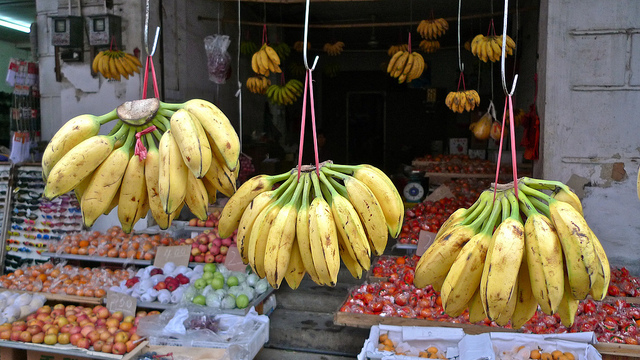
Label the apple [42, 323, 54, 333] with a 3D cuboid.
[{"bbox_3d":[-3.210,1.743,6.050,0.079,0.086,0.079,-1,-11,-6],"label":"apple"}]

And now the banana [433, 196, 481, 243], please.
[{"bbox_3d":[1.511,0.451,5.776,0.696,0.165,0.181,-45,-7,-19],"label":"banana"}]

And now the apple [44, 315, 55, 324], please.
[{"bbox_3d":[-3.253,1.683,6.170,0.077,0.099,0.079,-19,25,-17],"label":"apple"}]

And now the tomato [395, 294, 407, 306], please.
[{"bbox_3d":[0.998,1.499,6.447,0.116,0.142,0.114,-16,38,17],"label":"tomato"}]

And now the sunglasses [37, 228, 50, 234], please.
[{"bbox_3d":[-4.317,0.798,8.015,0.203,0.083,0.020,2,6,13],"label":"sunglasses"}]

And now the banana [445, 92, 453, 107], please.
[{"bbox_3d":[1.910,-1.210,7.709,0.048,0.175,0.136,14,1,-7],"label":"banana"}]

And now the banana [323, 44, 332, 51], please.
[{"bbox_3d":[0.150,-2.673,10.465,0.133,0.182,0.054,15,2,30],"label":"banana"}]

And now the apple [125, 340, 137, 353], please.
[{"bbox_3d":[-2.191,1.924,5.943,0.103,0.131,0.106,0,1,-3],"label":"apple"}]

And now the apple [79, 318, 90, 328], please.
[{"bbox_3d":[-2.827,1.707,6.154,0.064,0.083,0.067,-1,1,4],"label":"apple"}]

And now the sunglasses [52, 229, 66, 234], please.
[{"bbox_3d":[-4.055,0.803,7.980,0.211,0.071,0.022,2,6,9],"label":"sunglasses"}]

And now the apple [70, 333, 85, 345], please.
[{"bbox_3d":[-2.844,1.844,5.972,0.112,0.138,0.113,18,-8,14],"label":"apple"}]

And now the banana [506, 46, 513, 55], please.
[{"bbox_3d":[2.641,-1.800,7.167,0.052,0.102,0.182,4,17,-6],"label":"banana"}]

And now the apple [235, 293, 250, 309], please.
[{"bbox_3d":[-0.958,1.493,6.306,0.176,0.145,0.140,-1,6,-11],"label":"apple"}]

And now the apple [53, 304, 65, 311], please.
[{"bbox_3d":[-3.250,1.582,6.411,0.090,0.090,0.092,-2,-1,-1],"label":"apple"}]

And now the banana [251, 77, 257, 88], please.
[{"bbox_3d":[-1.079,-1.572,8.316,0.049,0.202,0.037,2,6,8],"label":"banana"}]

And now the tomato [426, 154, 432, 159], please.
[{"bbox_3d":[2.296,-0.490,10.930,0.157,0.069,0.164,1,-9,6],"label":"tomato"}]

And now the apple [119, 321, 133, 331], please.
[{"bbox_3d":[-2.328,1.746,6.145,0.093,0.096,0.096,6,-2,2],"label":"apple"}]

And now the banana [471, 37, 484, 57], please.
[{"bbox_3d":[2.332,-1.985,7.669,0.053,0.225,0.145,15,10,-43],"label":"banana"}]

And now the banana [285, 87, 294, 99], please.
[{"bbox_3d":[-0.497,-1.379,8.198,0.056,0.244,0.062,-37,4,26],"label":"banana"}]

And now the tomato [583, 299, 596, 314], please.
[{"bbox_3d":[3.222,1.523,6.143,0.096,0.138,0.078,7,-13,29],"label":"tomato"}]

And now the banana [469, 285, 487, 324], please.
[{"bbox_3d":[1.451,1.137,4.723,0.108,0.363,0.115,-1,3,-5],"label":"banana"}]

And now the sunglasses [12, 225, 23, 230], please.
[{"bbox_3d":[-4.737,0.743,8.047,0.170,0.069,0.007,2,6,11],"label":"sunglasses"}]

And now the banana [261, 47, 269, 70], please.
[{"bbox_3d":[-0.853,-1.843,7.788,0.100,0.290,0.073,-4,-4,-39],"label":"banana"}]

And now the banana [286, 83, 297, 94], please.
[{"bbox_3d":[-0.467,-1.465,8.254,0.207,0.043,0.056,39,30,-5],"label":"banana"}]

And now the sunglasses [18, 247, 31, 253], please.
[{"bbox_3d":[-4.621,1.097,8.037,0.209,0.078,0.017,2,6,13],"label":"sunglasses"}]

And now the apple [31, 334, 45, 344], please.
[{"bbox_3d":[-3.265,1.839,5.951,0.107,0.084,0.086,13,-34,35],"label":"apple"}]

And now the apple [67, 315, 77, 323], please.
[{"bbox_3d":[-2.986,1.673,6.177,0.068,0.069,0.069,-2,-28,-25],"label":"apple"}]

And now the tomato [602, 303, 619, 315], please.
[{"bbox_3d":[3.470,1.552,6.148,0.134,0.094,0.179,-5,8,-40],"label":"tomato"}]

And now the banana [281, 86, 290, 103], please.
[{"bbox_3d":[-0.562,-1.338,8.233,0.074,0.301,0.102,-18,-5,40],"label":"banana"}]

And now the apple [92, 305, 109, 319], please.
[{"bbox_3d":[-2.687,1.608,6.268,0.136,0.147,0.134,5,-5,11],"label":"apple"}]

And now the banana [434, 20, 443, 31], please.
[{"bbox_3d":[2.000,-2.577,8.661,0.064,0.214,0.048,-48,18,-24],"label":"banana"}]

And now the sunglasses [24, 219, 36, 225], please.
[{"bbox_3d":[-4.532,0.657,8.026,0.174,0.082,0.014,1,6,3],"label":"sunglasses"}]

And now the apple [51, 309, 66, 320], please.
[{"bbox_3d":[-3.209,1.631,6.293,0.115,0.122,0.115,-2,7,40],"label":"apple"}]

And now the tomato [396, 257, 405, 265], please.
[{"bbox_3d":[1.113,1.124,7.116,0.083,0.107,0.088,9,-11,-17],"label":"tomato"}]

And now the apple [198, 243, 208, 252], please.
[{"bbox_3d":[-1.628,0.946,7.145,0.088,0.094,0.109,-18,-10,19],"label":"apple"}]

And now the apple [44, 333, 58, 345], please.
[{"bbox_3d":[-3.118,1.843,5.951,0.117,0.122,0.116,0,4,0],"label":"apple"}]

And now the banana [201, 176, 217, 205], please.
[{"bbox_3d":[-1.074,0.121,5.085,0.094,0.302,0.089,-5,19,27],"label":"banana"}]

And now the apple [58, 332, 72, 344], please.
[{"bbox_3d":[-2.961,1.833,5.979,0.112,0.117,0.109,4,13,16],"label":"apple"}]

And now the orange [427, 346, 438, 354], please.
[{"bbox_3d":[1.284,1.944,5.858,0.079,0.050,0.061,-7,-36,13],"label":"orange"}]

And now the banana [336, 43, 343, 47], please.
[{"bbox_3d":[0.387,-2.757,10.545,0.100,0.085,0.239,4,7,27],"label":"banana"}]

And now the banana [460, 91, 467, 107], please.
[{"bbox_3d":[2.109,-1.192,7.615,0.099,0.221,0.128,1,6,2],"label":"banana"}]
